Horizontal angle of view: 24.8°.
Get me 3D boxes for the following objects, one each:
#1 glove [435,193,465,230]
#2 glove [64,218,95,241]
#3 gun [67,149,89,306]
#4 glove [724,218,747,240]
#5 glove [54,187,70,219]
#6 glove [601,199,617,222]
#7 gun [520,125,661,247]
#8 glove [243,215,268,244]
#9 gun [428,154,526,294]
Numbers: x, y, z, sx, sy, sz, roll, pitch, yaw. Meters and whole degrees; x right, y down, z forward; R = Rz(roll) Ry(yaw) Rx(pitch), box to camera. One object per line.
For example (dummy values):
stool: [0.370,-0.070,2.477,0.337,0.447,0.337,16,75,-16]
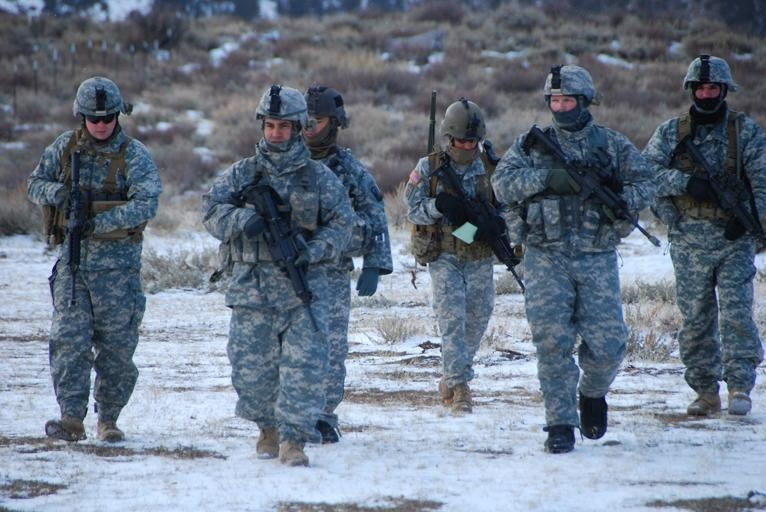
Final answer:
glove: [1.477,-0.934,37.829,0.566,0.743,0.219,-49,4,18]
glove: [-6.462,-0.532,37.093,0.579,0.409,0.192,-1,-1,-15]
gun: [-6.646,-0.634,37.246,0.514,2.824,0.546,1,0,-20]
glove: [7.651,-0.536,37.665,0.480,0.465,0.134,-1,-1,9]
glove: [-6.844,-1.121,37.111,0.396,0.577,0.271,3,4,16]
glove: [4.820,-0.918,36.835,0.228,0.405,0.108,-18,13,48]
gun: [4.322,-1.435,36.976,0.421,3.034,0.868,-43,-4,-45]
glove: [-2.688,-0.563,36.431,0.487,0.542,0.236,-1,-1,-6]
gun: [2.011,-0.722,37.905,1.123,3.152,0.439,-28,-4,3]
